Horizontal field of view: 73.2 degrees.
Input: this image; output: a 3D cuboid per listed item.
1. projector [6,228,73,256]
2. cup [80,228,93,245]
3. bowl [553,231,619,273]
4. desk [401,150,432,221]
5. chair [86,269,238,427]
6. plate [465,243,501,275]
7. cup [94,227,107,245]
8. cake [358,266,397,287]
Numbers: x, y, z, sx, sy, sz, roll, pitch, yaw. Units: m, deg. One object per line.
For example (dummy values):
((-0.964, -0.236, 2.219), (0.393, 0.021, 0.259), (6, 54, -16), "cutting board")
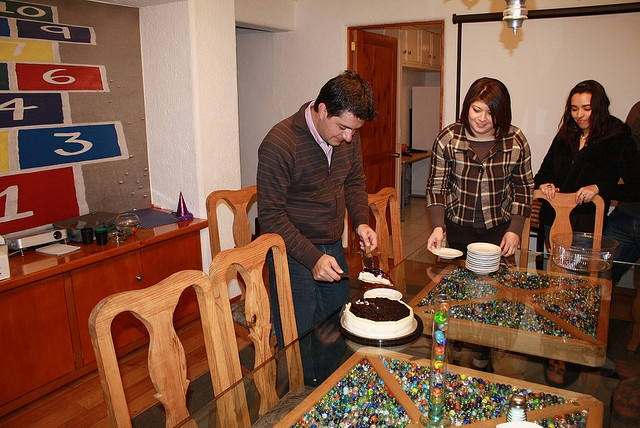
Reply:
((-2.070, 0.180, 3.082), (0.213, 0.095, 0.241), (4, 12, 27), "projector")
((-1.735, 0.165, 3.212), (0.083, 0.122, 0.054), (-12, 20, -30), "cup")
((1.593, 0.218, 2.599), (0.348, 0.141, 0.384), (-1, 14, 11), "bowl")
((1.522, -0.474, 6.854), (0.419, 0.929, 1.012), (4, 17, 18), "desk")
((-0.628, 0.584, 1.770), (0.504, 0.622, 0.273), (-12, 21, -31), "chair")
((0.947, 0.249, 2.488), (0.171, 0.113, 0.172), (1, 13, 14), "plate")
((-1.626, 0.163, 3.212), (0.081, 0.117, 0.084), (-1, 18, 0), "cup")
((0.297, 0.324, 2.282), (0.097, 0.041, 0.135), (-1, 5, -35), "cake")
